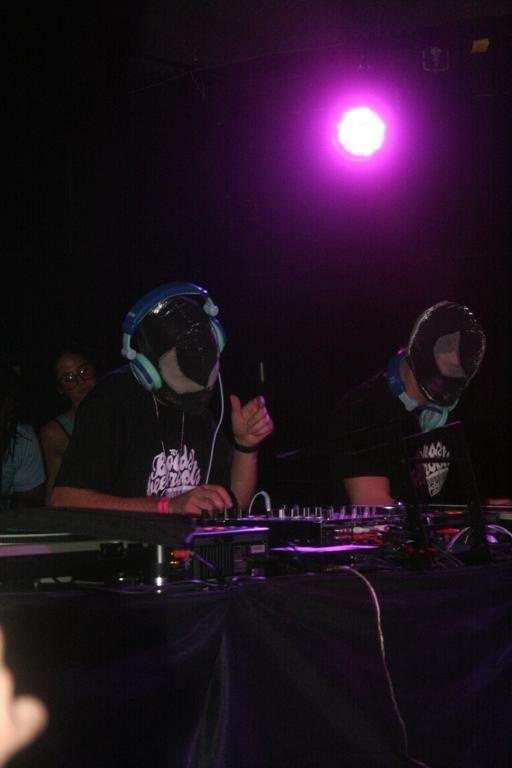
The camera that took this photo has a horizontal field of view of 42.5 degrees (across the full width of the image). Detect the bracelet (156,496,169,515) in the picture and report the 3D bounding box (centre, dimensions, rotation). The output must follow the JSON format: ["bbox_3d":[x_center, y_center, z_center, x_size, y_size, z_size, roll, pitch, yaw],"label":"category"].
[{"bbox_3d":[-0.175,0.232,1.248,0.025,0.026,0.025,-4,-5,28],"label":"bracelet"}]
